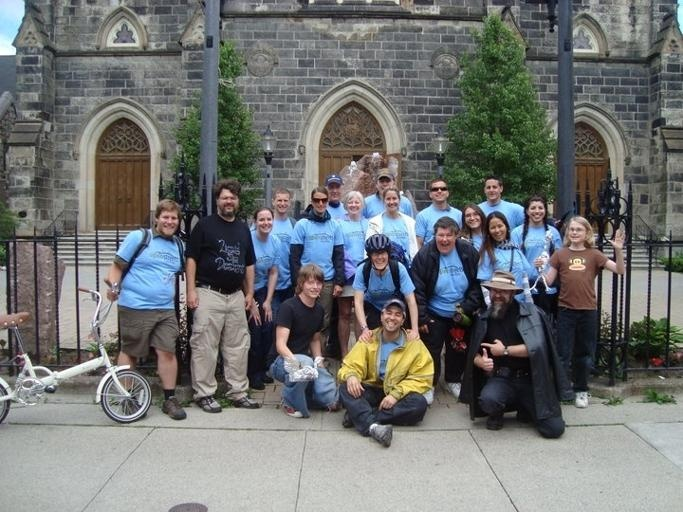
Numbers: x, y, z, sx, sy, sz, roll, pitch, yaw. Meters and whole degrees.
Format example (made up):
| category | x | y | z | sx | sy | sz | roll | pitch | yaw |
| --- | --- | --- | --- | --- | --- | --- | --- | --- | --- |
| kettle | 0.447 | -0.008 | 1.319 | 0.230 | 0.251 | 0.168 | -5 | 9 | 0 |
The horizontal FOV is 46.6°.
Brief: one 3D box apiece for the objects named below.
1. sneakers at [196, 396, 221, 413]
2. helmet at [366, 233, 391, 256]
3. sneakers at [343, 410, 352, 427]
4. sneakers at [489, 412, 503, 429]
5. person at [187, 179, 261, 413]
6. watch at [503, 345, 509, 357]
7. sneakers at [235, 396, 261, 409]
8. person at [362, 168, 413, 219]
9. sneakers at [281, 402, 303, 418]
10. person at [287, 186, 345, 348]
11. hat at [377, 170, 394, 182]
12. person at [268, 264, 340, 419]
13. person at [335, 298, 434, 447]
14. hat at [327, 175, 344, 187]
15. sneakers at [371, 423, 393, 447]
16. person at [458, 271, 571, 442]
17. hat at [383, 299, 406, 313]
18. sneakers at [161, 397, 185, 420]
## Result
| category | x | y | z | sx | sy | sz | roll | pitch | yaw |
| --- | --- | --- | --- | --- | --- | --- | --- | --- | --- |
| sneakers | -1.745 | 1.933 | 10.355 | 0.345 | 0.166 | 0.142 | 3 | 6 | 34 |
| helmet | 0.465 | -0.149 | 10.295 | 0.215 | 0.161 | 0.300 | -1 | -9 | 3 |
| sneakers | 0.072 | 2.064 | 10.019 | 0.094 | 0.232 | 0.081 | -2 | 2 | 4 |
| sneakers | 1.949 | 2.063 | 9.948 | 0.238 | 0.217 | 0.131 | -1 | 2 | -19 |
| person | -1.587 | 0.514 | 10.492 | 0.939 | 3.018 | 0.483 | -1 | 2 | -12 |
| watch | 2.065 | 1.195 | 9.925 | 0.066 | 0.122 | 0.079 | 0 | 2 | 12 |
| sneakers | -1.255 | 1.933 | 10.474 | 0.364 | 0.173 | 0.144 | 1 | -4 | 0 |
| person | 0.689 | -0.822 | 11.987 | 0.834 | 0.841 | 0.464 | -4 | -34 | 16 |
| sneakers | -0.666 | 1.997 | 10.286 | 0.126 | 0.137 | 0.339 | 1 | 1 | -42 |
| person | -0.336 | 0.308 | 11.316 | 0.801 | 2.651 | 0.554 | -2 | 11 | -10 |
| hat | 0.649 | -1.197 | 11.730 | 0.239 | 0.172 | 0.173 | 0 | 2 | 2 |
| person | -0.480 | 1.091 | 10.393 | 0.752 | 1.960 | 0.706 | -1 | 2 | -28 |
| person | 0.544 | 1.401 | 10.035 | 0.902 | 1.685 | 0.890 | 1 | 3 | 42 |
| hat | -0.113 | -1.102 | 11.611 | 0.236 | 0.204 | 0.275 | 0 | 2 | 0 |
| sneakers | 0.480 | 2.175 | 9.603 | 0.286 | 0.236 | 0.228 | 0 | 2 | 2 |
| person | 2.147 | 1.217 | 9.941 | 1.237 | 2.011 | 0.427 | 0 | 2 | 11 |
| hat | 0.678 | 0.640 | 10.103 | 0.252 | 0.177 | 0.385 | 5 | -8 | 2 |
| sneakers | -2.158 | 1.953 | 10.171 | 0.195 | 0.250 | 0.368 | -2 | 2 | -38 |
